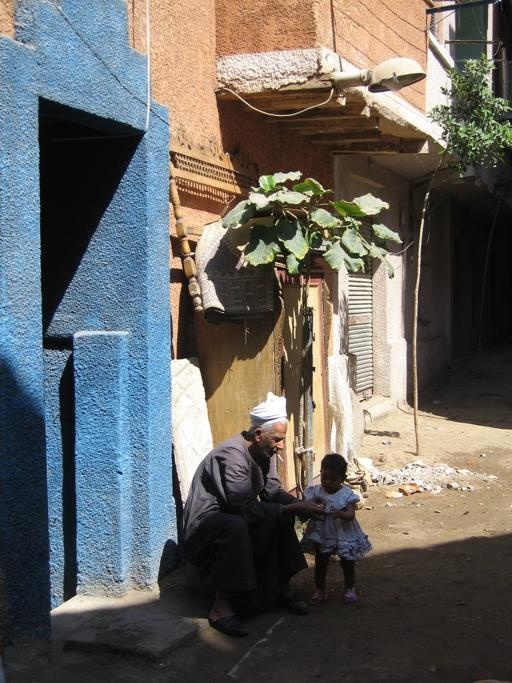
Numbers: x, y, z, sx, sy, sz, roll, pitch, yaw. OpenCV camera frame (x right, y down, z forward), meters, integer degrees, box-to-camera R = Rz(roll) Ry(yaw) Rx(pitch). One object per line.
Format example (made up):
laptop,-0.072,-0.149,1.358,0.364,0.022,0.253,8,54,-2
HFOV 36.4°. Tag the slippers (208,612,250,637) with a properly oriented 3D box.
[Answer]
slippers,-0.121,1.427,3.979,0.170,0.060,0.084,2,3,43

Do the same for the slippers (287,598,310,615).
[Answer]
slippers,0.234,1.446,4.270,0.051,0.053,0.137,-1,-9,-24

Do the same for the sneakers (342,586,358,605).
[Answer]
sneakers,0.538,1.448,4.470,0.075,0.064,0.154,-2,-9,7

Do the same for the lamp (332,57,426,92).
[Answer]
lamp,0.990,-2.083,6.194,0.588,0.208,0.331,-3,10,8

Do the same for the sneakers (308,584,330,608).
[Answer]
sneakers,0.353,1.451,4.473,0.052,0.062,0.156,-3,-8,19

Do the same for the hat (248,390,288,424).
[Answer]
hat,0.055,0.374,4.400,0.148,0.138,0.194,0,-11,-41

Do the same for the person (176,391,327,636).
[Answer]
person,-0.021,0.884,4.293,0.677,1.165,0.651,-1,5,-34
